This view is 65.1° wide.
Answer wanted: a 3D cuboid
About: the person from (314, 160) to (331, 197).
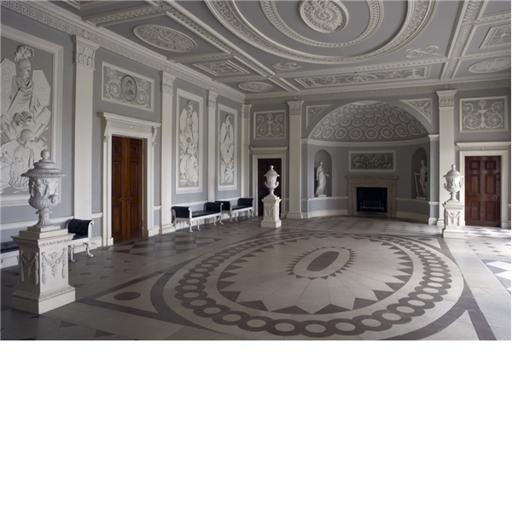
[{"bbox_3d":[2.675,-3.140,16.399,0.355,1.469,0.896,3,5,44],"label":"person"}]
